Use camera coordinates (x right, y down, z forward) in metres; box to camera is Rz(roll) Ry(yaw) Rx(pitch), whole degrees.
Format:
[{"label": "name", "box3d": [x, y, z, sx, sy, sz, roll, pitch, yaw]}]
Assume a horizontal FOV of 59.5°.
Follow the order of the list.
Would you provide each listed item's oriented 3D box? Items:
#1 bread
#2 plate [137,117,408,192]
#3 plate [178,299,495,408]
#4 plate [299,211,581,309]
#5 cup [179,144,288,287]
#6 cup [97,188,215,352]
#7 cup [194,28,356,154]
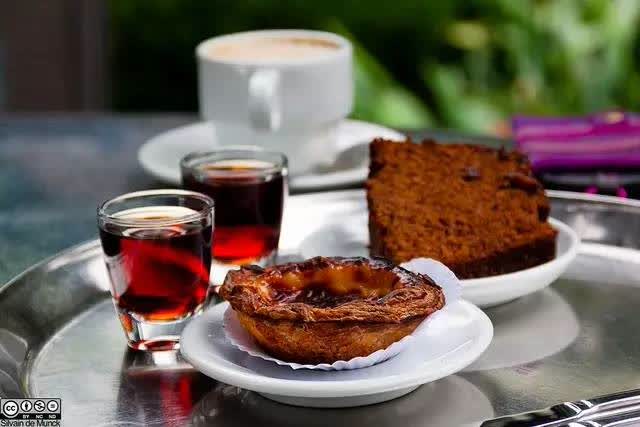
[{"label": "bread", "box3d": [0.275, 0.002, 1.112, 0.290, 0.104, 0.305, 0, 45, -2]}, {"label": "plate", "box3d": [-0.170, -0.185, 1.686, 0.561, 0.252, 0.733, 5, 15, 28]}, {"label": "plate", "box3d": [0.026, 0.195, 0.836, 0.474, 0.045, 0.213, 1, 31, 0]}, {"label": "plate", "box3d": [0.250, 0.009, 1.213, 0.519, 0.168, 0.425, 1, 18, 10]}, {"label": "cup", "box3d": [-0.196, -0.030, 1.240, 0.241, 0.298, 0.202, -4, 23, -15]}, {"label": "cup", "box3d": [-0.297, 0.096, 1.015, 0.163, 0.262, 0.214, 2, 14, 38]}, {"label": "cup", "box3d": [-0.110, -0.331, 1.440, 0.301, 0.161, 0.407, -1, 16, 2]}]
